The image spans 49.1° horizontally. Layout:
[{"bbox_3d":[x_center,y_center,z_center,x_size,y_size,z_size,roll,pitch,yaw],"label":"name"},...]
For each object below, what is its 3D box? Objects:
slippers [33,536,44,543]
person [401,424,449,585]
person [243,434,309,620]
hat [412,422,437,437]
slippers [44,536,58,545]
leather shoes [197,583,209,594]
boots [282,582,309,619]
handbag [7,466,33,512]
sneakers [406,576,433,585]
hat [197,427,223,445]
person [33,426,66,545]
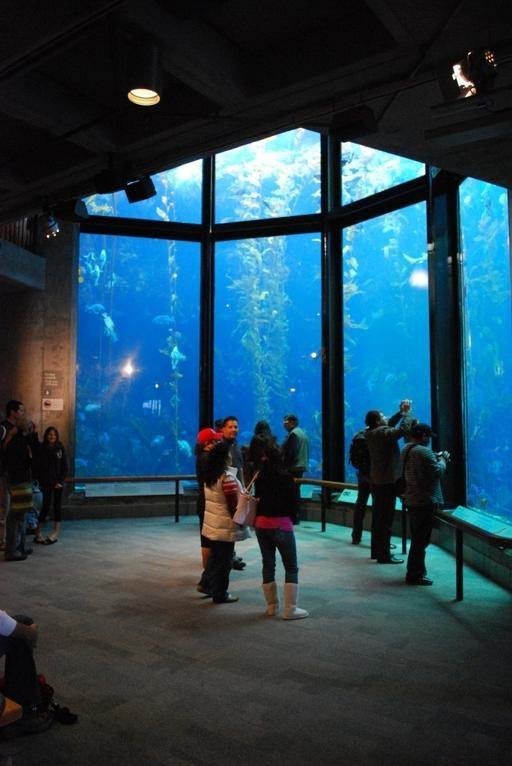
[{"bbox_3d":[-2.641,1.937,6.875,0.122,0.080,0.169,3,-7,-24],"label":"slippers"},{"bbox_3d":[1.512,1.084,5.070,0.363,1.425,0.387,-2,-8,15],"label":"person"},{"bbox_3d":[0.159,1.046,4.091,0.417,1.275,0.272,0,-7,4],"label":"person"},{"bbox_3d":[1.554,0.477,5.245,0.233,0.134,0.156,-4,10,-33],"label":"hat"},{"bbox_3d":[-2.508,1.937,6.882,0.128,0.048,0.068,4,-3,-15],"label":"slippers"},{"bbox_3d":[-0.430,1.665,4.532,0.056,0.078,0.110,7,-9,-32],"label":"leather shoes"},{"bbox_3d":[0.282,1.546,3.993,0.198,0.246,0.130,2,-7,-13],"label":"boots"},{"bbox_3d":[-2.500,1.165,5.967,0.218,0.419,0.154,4,-8,-27],"label":"handbag"},{"bbox_3d":[1.433,1.762,4.944,0.223,0.102,0.087,-2,-4,9],"label":"sneakers"},{"bbox_3d":[-0.398,0.481,4.975,0.214,0.131,0.154,-11,10,-14],"label":"hat"},{"bbox_3d":[-2.596,1.280,7.137,0.333,1.441,0.551,2,-7,-14],"label":"person"}]
